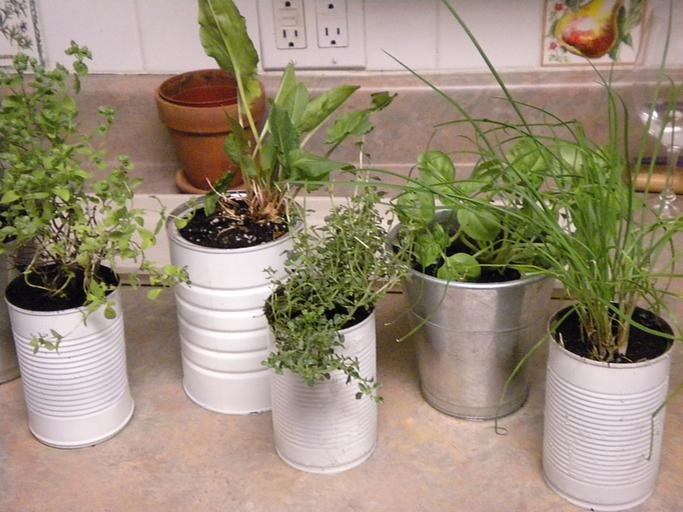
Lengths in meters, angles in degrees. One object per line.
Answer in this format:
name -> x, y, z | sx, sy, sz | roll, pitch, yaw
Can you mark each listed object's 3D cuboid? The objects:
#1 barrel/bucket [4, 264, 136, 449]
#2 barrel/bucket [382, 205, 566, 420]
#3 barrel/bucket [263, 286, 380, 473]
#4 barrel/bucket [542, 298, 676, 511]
barrel/bucket -> -0.376, 0.145, 0.777 | 0.163, 0.206, 0.106 | 4, 27, 13
barrel/bucket -> 0.171, 0.103, 0.868 | 0.259, 0.236, 0.270 | -3, 27, 1
barrel/bucket -> -0.027, 0.153, 0.726 | 0.144, 0.231, 0.152 | -2, 26, 1
barrel/bucket -> 0.313, 0.191, 0.668 | 0.130, 0.200, 0.097 | -8, 26, -10
